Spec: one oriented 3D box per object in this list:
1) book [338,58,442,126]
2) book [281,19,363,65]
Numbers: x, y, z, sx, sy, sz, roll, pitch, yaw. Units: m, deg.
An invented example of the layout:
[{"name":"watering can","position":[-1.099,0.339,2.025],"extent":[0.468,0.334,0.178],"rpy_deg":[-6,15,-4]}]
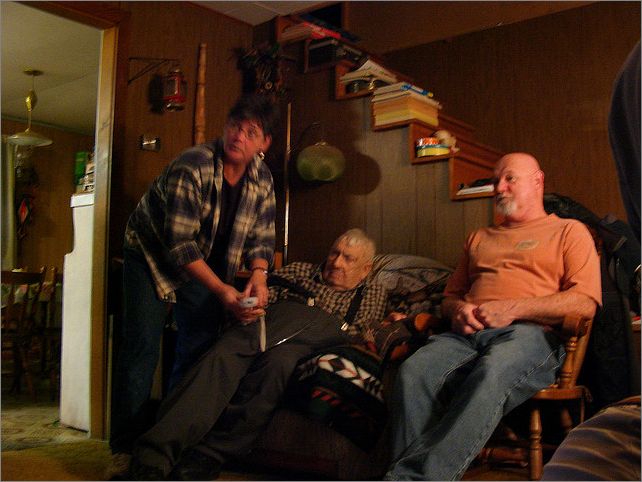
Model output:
[{"name":"book","position":[0.425,-1.000,3.764],"extent":[0.602,0.212,0.458],"rpy_deg":[12,15,28]},{"name":"book","position":[-0.012,-1.533,4.227],"extent":[0.506,0.157,0.390],"rpy_deg":[30,20,25]}]
